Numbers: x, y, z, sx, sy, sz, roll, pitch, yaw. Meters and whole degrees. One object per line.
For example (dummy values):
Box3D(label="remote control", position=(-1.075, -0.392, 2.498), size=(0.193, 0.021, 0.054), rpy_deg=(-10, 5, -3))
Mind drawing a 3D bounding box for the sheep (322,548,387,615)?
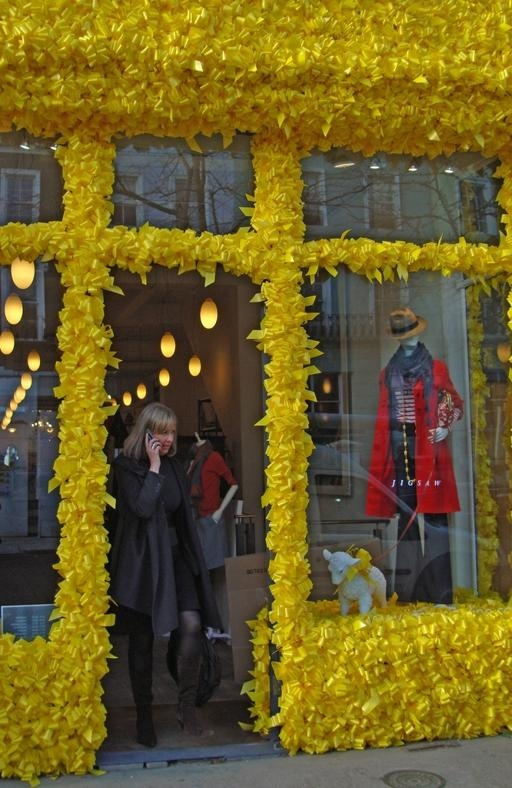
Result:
Box3D(label="sheep", position=(0.528, 1.019, 5.266), size=(0.411, 0.252, 0.307), rpy_deg=(14, 70, -48))

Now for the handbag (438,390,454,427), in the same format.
Box3D(label="handbag", position=(1.063, 0.098, 5.580), size=(0.078, 0.137, 0.161), rpy_deg=(-5, 91, 19))

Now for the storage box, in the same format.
Box3D(label="storage box", position=(0.239, 1.131, 5.082), size=(0.916, 0.429, 0.596), rpy_deg=(-4, 79, -15))

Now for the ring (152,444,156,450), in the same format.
Box3D(label="ring", position=(-0.540, 0.275, 5.129), size=(0.028, 0.009, 0.029), rpy_deg=(0, 87, -4))
